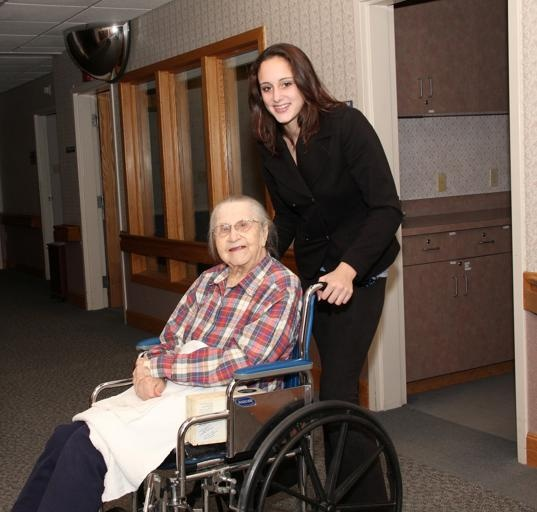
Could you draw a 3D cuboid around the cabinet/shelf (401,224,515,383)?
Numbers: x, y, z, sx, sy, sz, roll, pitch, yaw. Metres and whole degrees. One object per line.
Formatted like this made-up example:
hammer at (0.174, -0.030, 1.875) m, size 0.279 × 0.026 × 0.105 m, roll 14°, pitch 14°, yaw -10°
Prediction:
cabinet/shelf at (1.294, 0.302, 3.812) m, size 1.013 × 1.054 × 0.633 m, roll -4°, pitch 5°, yaw -19°
